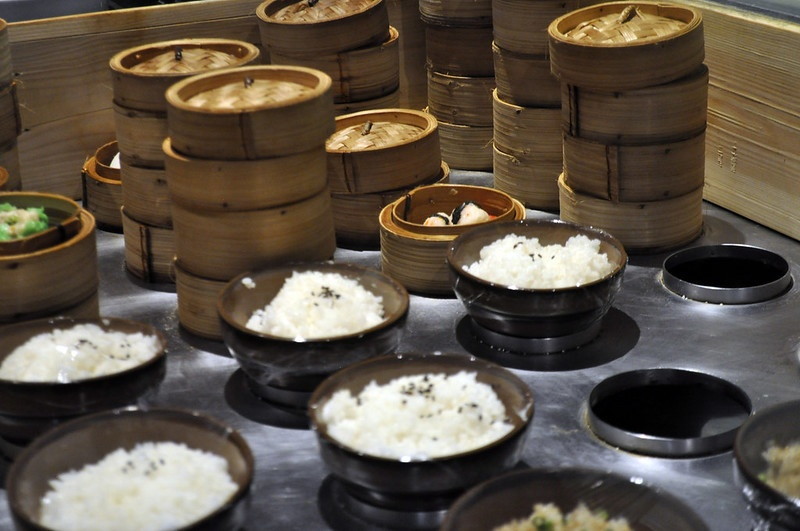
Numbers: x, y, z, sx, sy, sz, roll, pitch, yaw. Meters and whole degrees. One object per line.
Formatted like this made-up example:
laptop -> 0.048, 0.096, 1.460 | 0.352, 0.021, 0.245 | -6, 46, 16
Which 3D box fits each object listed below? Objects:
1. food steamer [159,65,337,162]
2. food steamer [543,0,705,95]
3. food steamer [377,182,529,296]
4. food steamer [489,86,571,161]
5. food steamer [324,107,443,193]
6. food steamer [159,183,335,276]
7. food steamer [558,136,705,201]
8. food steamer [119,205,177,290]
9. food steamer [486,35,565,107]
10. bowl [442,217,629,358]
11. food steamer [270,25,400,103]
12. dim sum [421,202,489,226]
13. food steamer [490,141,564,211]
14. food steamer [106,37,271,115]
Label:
food steamer -> -0.574, -0.610, 2.805 | 0.683, 0.244, 0.617 | 0, 31, 7
food steamer -> 0.940, -0.926, 3.083 | 0.553, 0.279, 0.490 | -20, 34, -23
food steamer -> 0.128, -0.132, 3.102 | 0.570, 0.242, 0.558 | -4, 25, 1
food steamer -> 0.641, -0.685, 3.552 | 0.363, 0.203, 0.330 | -6, 27, -7
food steamer -> -0.123, -0.580, 3.509 | 0.650, 0.268, 0.586 | -4, 30, 6
food steamer -> -0.569, -0.178, 2.990 | 0.695, 0.264, 0.655 | -6, 10, -24
food steamer -> 1.000, -0.399, 3.172 | 0.406, 0.133, 0.379 | 0, 21, 11
food steamer -> -1.060, -0.092, 3.248 | 0.343, 0.241, 0.339 | -1, 25, -7
food steamer -> 0.563, -0.962, 3.696 | 0.460, 0.265, 0.437 | -8, 16, -34
bowl -> 0.443, 0.111, 3.030 | 1.044, 0.429, 0.974 | -2, -11, 0
food steamer -> -0.269, -1.071, 3.697 | 0.472, 0.185, 0.470 | 16, 30, 33
dim sum -> 0.244, -0.205, 3.103 | 0.216, 0.082, 0.128 | -8, 17, 9
food steamer -> 0.632, -0.439, 3.705 | 0.344, 0.195, 0.346 | 20, 29, 32
food steamer -> -0.921, -0.838, 3.175 | 0.573, 0.232, 0.588 | 30, 43, 33
